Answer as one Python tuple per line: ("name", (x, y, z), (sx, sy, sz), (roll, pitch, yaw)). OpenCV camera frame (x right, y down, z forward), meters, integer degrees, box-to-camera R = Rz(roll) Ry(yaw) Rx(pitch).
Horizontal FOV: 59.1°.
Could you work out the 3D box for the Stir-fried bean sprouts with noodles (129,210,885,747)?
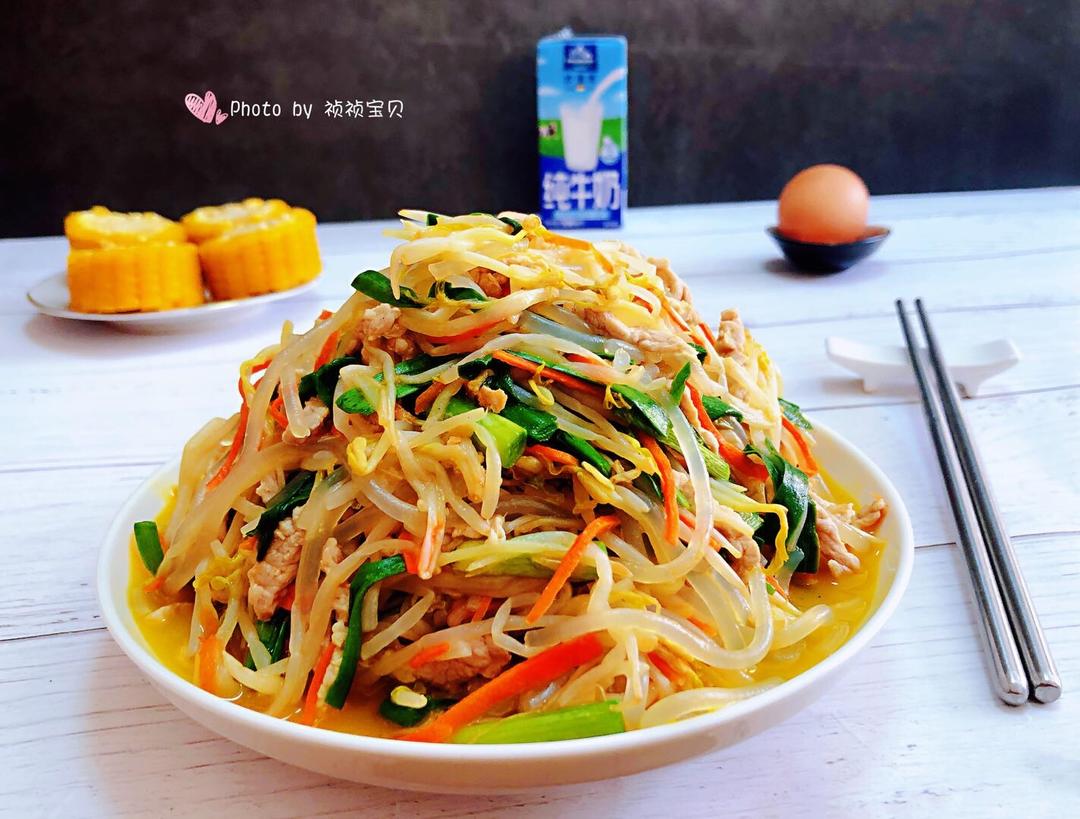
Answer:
("Stir-fried bean sprouts with noodles", (-0.146, 0.064, 1.600), (1.039, 0.593, 1.091), (-13, 34, -21))
